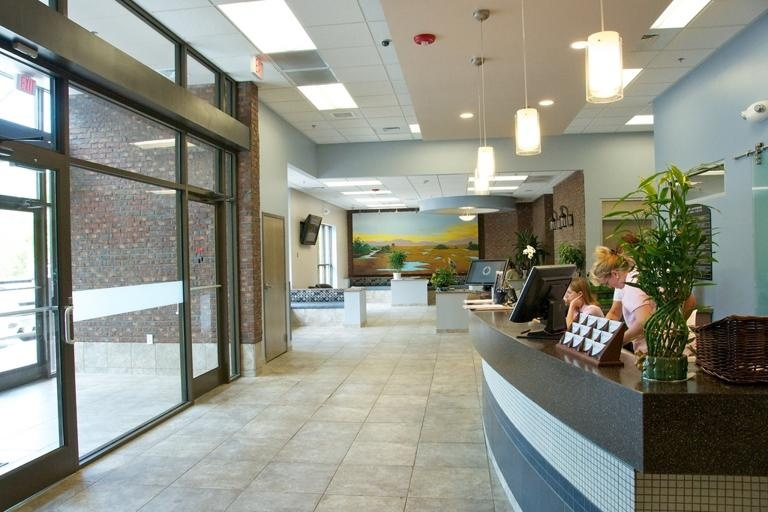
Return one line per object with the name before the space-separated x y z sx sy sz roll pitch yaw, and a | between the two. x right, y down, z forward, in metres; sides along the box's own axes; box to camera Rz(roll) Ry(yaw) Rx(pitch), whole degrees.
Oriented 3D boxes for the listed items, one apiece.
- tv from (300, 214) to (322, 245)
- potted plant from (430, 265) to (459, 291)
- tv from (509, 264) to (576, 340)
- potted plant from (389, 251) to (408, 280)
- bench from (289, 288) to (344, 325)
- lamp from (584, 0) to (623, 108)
tv | -2.253 -0.849 16.147 0.345 0.857 1.043 -4 -3 15
potted plant | 1.425 0.442 12.732 0.708 0.899 0.901 0 -6 7
tv | 1.362 0.363 4.471 0.645 0.597 0.387 -3 2 -40
potted plant | 0.299 0.325 18.033 0.836 1.102 0.852 -1 -1 13
bench | -1.718 1.264 13.247 1.082 0.703 0.989 0 0 6
lamp | 1.730 -1.501 4.166 0.254 0.563 0.179 1 6 19
